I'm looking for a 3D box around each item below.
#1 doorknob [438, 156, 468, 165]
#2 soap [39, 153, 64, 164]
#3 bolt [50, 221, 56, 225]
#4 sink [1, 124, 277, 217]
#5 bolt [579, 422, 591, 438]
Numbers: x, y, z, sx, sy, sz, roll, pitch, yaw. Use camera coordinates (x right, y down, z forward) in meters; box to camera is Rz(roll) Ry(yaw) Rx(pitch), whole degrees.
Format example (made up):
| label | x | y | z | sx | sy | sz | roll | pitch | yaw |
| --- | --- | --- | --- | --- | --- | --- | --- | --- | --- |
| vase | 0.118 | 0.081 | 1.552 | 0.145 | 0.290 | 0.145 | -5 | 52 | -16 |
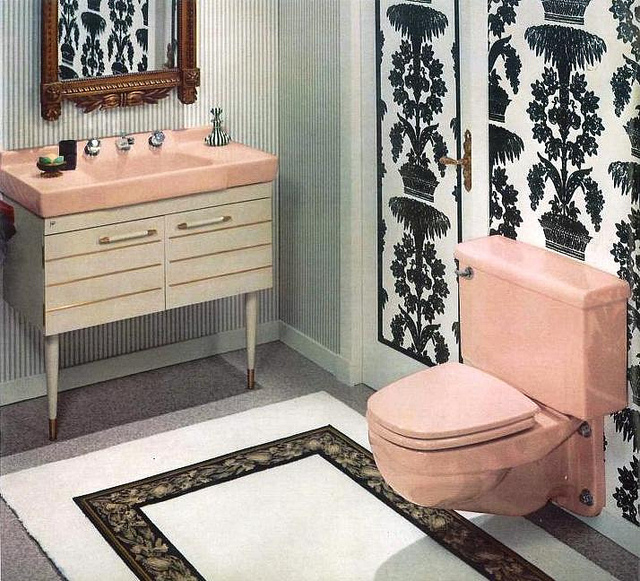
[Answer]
| label | x | y | z | sx | sy | sz | roll | pitch | yaw |
| --- | --- | --- | --- | --- | --- | --- | --- | --- | --- |
| doorknob | 0.441 | -0.423 | 2.203 | 0.065 | 0.035 | 0.019 | 7 | 25 | 3 |
| soap | -0.949 | -0.465 | 2.404 | 0.065 | 0.031 | 0.069 | -2 | 4 | -9 |
| bolt | -0.874 | -0.222 | 2.216 | 0.013 | 0.013 | 0.003 | -1 | 3 | -3 |
| sink | -0.677 | -0.477 | 2.563 | 0.934 | 0.185 | 0.494 | -16 | 26 | -35 |
| bolt | 0.744 | 0.387 | 1.912 | 0.032 | 0.044 | 0.012 | 5 | 17 | 32 |
